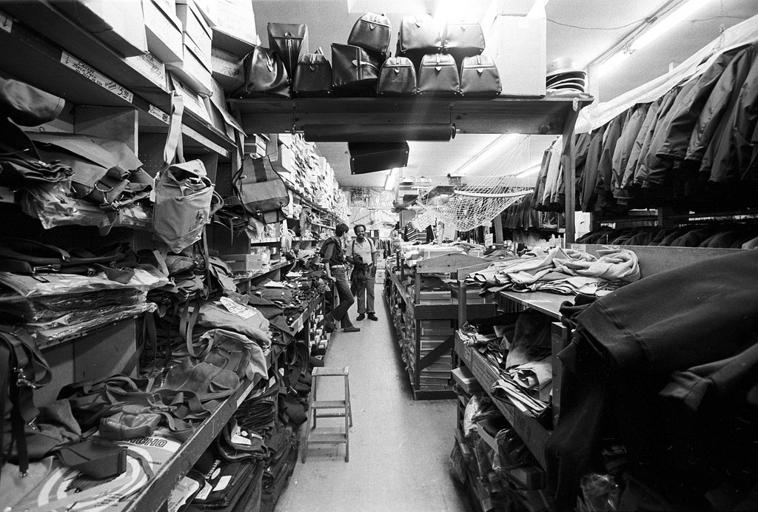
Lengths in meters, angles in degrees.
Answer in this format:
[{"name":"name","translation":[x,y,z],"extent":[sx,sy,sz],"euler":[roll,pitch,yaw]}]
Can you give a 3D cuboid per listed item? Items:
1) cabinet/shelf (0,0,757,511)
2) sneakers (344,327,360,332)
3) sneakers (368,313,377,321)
[{"name":"cabinet/shelf","translation":[0.073,-0.060,2.962],"extent":[3.746,3.357,1.254],"euler":[2,-15,-11]},{"name":"sneakers","translation":[-0.407,1.074,7.383],"extent":[0.221,0.092,0.085],"euler":[-1,-2,0]},{"name":"sneakers","translation":[-0.105,1.013,8.344],"extent":[0.209,0.153,0.072],"euler":[-1,2,0]}]
